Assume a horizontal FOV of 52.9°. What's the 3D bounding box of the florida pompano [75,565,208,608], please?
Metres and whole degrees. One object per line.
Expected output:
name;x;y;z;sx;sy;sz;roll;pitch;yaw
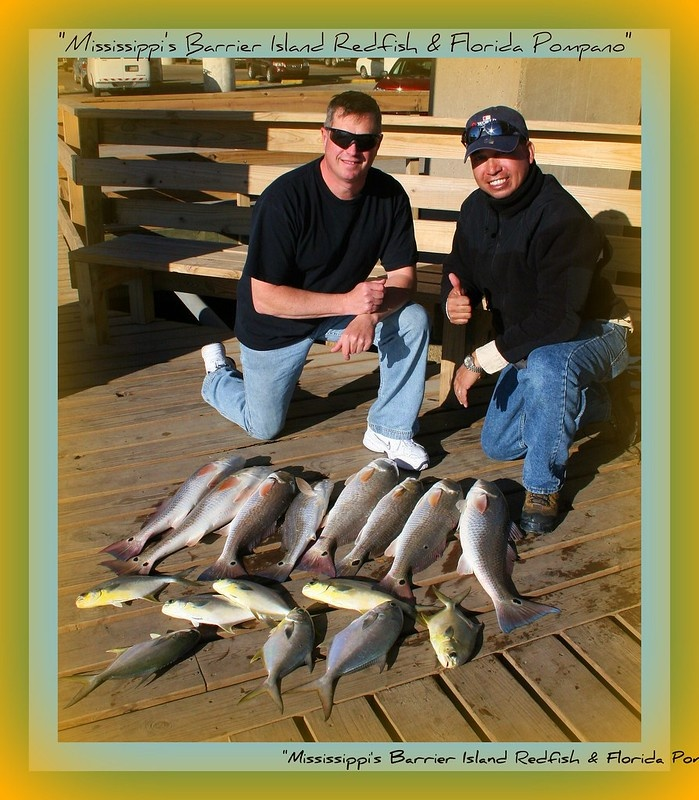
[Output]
florida pompano;-0.754;0.670;2.540;0.447;0.076;0.138;-6;16;-22

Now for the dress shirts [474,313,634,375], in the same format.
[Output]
dress shirts;1.043;-0.263;3.321;0.547;0.222;0.711;17;12;25

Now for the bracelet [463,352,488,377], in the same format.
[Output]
bracelet;0.614;-0.165;3.373;0.104;0.041;0.117;34;16;31

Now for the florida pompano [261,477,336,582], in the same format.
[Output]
florida pompano;-0.191;0.508;2.798;0.230;0.117;0.471;12;35;12

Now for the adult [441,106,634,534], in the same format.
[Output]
adult;0.727;-0.382;3.139;0.821;1.753;0.867;7;19;26

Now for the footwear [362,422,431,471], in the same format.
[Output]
footwear;0.225;0.226;3.539;0.377;0.142;0.134;17;38;22

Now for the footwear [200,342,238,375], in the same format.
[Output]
footwear;-0.763;-0.237;4.037;0.124;0.111;0.285;-8;25;-7

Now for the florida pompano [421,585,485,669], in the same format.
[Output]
florida pompano;0.310;0.732;2.343;0.219;0.080;0.317;-5;20;-21

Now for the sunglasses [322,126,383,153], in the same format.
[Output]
sunglasses;0.013;-1.123;3.045;0.239;0.117;0.124;-1;16;0

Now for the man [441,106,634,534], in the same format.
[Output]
man;0.727;-0.382;3.139;0.821;1.753;0.867;7;19;26

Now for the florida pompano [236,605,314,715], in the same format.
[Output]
florida pompano;-0.184;0.804;2.213;0.128;0.157;0.432;-38;4;29
